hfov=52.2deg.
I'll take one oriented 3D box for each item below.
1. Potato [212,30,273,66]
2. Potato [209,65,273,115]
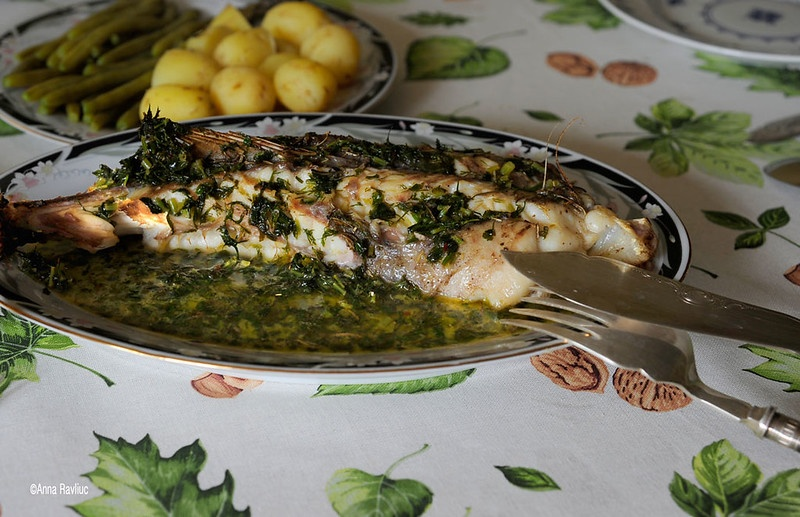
[{"bbox_3d":[-0.828,-1.198,4.543,0.269,0.151,0.161,19,67,17],"label":"Potato"},{"bbox_3d":[-0.826,-0.883,4.410,0.337,0.253,0.228,1,90,-32],"label":"Potato"}]
